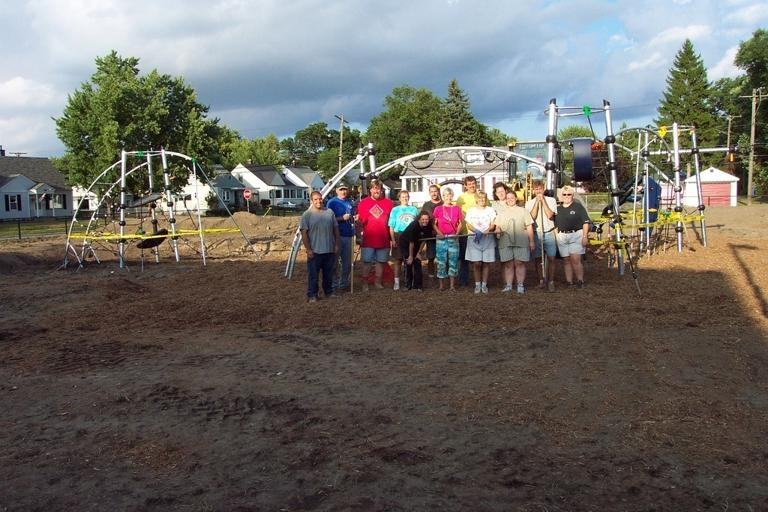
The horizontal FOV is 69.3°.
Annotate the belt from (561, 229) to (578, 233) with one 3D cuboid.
[{"bbox_3d":[3.525,-0.481,10.597,0.290,0.061,0.038,0,12,5],"label":"belt"}]

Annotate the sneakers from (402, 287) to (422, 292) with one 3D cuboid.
[{"bbox_3d":[0.560,0.627,10.938,0.333,0.121,0.108,4,0,20],"label":"sneakers"}]

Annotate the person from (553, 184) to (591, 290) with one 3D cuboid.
[{"bbox_3d":[3.607,-0.392,10.711,0.647,1.908,0.391,1,12,15],"label":"person"}]

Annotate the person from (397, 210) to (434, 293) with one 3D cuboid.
[{"bbox_3d":[0.638,-0.115,10.934,0.720,1.494,0.494,-2,12,-2],"label":"person"}]

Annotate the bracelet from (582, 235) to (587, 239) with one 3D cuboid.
[{"bbox_3d":[3.808,-0.349,10.547,0.070,0.040,0.069,-3,-4,14],"label":"bracelet"}]

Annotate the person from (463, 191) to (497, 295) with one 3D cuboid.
[{"bbox_3d":[1.844,-0.261,10.631,0.596,1.932,0.789,0,12,7],"label":"person"}]

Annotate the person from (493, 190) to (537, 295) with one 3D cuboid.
[{"bbox_3d":[2.428,-0.263,10.438,0.707,1.878,0.503,4,13,26],"label":"person"}]

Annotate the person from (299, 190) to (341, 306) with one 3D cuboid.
[{"bbox_3d":[-1.208,-0.206,10.445,0.783,2.020,0.394,-12,16,-40],"label":"person"}]

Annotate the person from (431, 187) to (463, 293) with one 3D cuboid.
[{"bbox_3d":[1.251,-0.332,10.964,0.620,1.999,0.789,0,12,7],"label":"person"}]

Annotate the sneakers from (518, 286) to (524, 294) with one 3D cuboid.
[{"bbox_3d":[2.574,0.636,10.461,0.127,0.129,0.133,-4,-8,18],"label":"sneakers"}]
